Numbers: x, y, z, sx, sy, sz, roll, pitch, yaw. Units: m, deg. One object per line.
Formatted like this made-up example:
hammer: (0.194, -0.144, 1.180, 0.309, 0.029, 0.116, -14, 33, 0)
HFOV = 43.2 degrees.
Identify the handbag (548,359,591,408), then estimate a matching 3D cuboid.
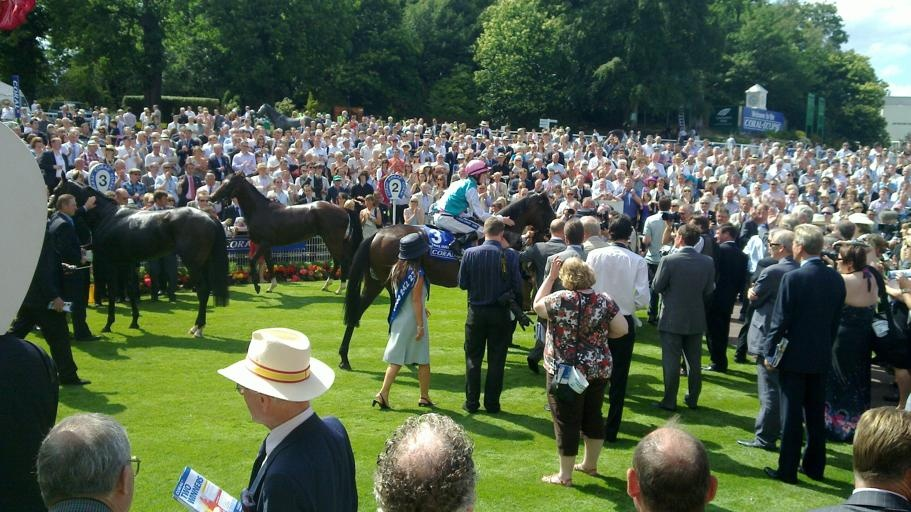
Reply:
handbag: (3.365, 3.903, 35.032, 1.213, 0.926, 0.436, 31, -8, 21)

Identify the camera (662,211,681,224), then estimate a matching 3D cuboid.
camera: (7.213, -1.268, 38.742, 0.496, 0.277, 0.465, 5, 0, -39)

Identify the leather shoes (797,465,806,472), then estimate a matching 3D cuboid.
leather shoes: (10.668, 6.658, 35.767, 0.216, 0.222, 0.144, 4, 4, 17)

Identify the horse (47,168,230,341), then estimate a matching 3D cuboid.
horse: (-11.054, 0.208, 39.603, 6.012, 4.754, 1.725, 2, 8, -1)

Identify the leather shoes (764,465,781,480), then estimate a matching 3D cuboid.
leather shoes: (9.750, 6.775, 35.674, 0.633, 0.266, 0.216, 37, 52, 23)
